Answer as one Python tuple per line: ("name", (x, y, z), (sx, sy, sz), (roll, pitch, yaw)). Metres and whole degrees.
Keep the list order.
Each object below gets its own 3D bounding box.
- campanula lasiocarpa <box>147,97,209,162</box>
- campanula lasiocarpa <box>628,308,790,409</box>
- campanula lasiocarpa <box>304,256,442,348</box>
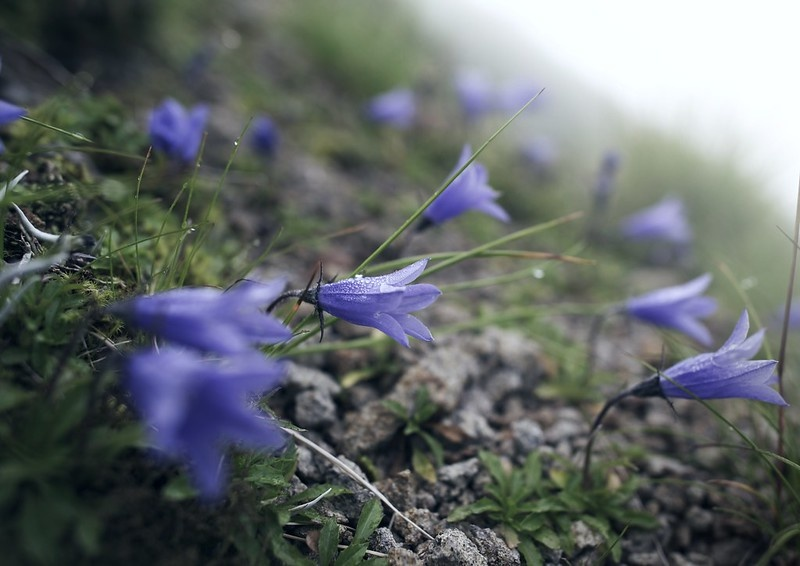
("campanula lasiocarpa", (-1.311, -0.887, 4.465), (0.283, 0.428, 0.152), (-1, 4, -9))
("campanula lasiocarpa", (1.537, 0.382, 3.754), (0.451, 0.441, 0.761), (-7, 4, -36))
("campanula lasiocarpa", (-0.107, 0.069, 3.514), (0.490, 0.312, 0.333), (4, 7, 18))
